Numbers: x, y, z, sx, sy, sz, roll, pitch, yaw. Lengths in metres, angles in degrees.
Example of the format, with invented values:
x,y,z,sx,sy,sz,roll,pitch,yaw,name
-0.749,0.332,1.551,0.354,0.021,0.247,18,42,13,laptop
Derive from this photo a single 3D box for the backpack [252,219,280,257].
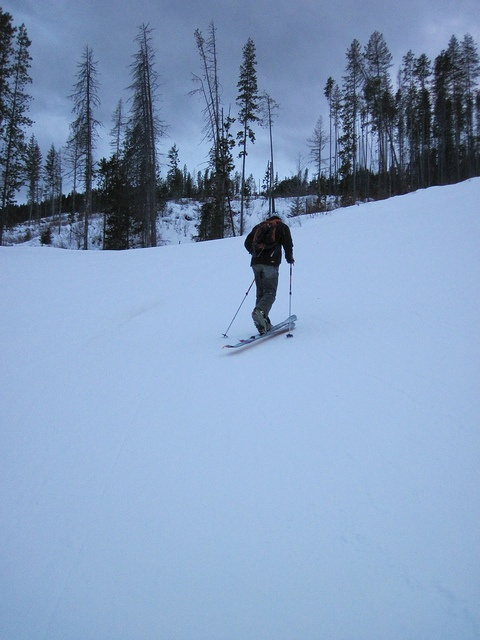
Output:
x,y,z,sx,sy,sz,roll,pitch,yaw,name
0.288,-0.873,5.621,0.204,0.425,0.182,-13,-30,39,backpack

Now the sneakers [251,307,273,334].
x,y,z,sx,sy,sz,roll,pitch,yaw,name
0.210,0.060,5.142,0.101,0.372,0.160,2,38,37,sneakers
